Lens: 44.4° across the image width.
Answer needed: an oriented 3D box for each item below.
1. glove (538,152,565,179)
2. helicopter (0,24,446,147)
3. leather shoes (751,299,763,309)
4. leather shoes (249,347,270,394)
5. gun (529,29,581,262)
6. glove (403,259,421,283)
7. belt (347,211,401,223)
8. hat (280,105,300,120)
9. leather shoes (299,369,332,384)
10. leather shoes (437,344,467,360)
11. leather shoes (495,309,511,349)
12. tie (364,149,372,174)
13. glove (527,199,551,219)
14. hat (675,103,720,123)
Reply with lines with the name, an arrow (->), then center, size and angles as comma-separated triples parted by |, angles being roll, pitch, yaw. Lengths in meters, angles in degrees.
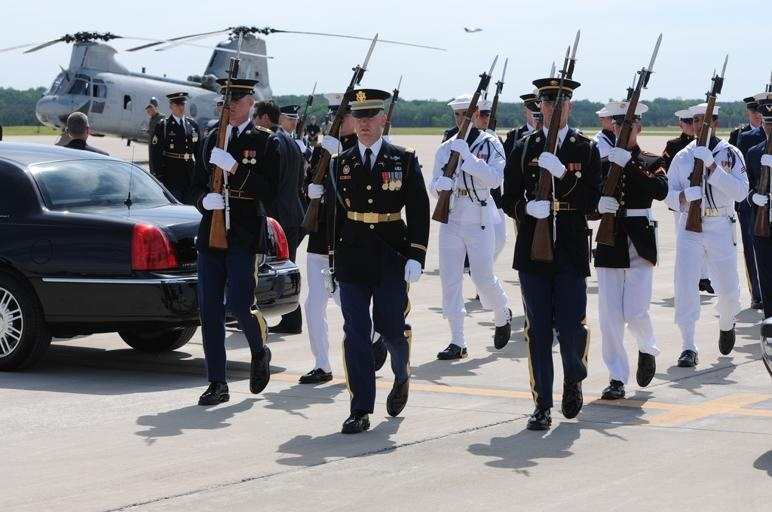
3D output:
glove -> 1.285, -0.700, 7.333 | 0.221, 0.208, 0.157 | -1, 10, -4
helicopter -> -7.038, -5.893, 35.705 | 12.471, 2.967, 11.052 | 3, -1, -29
leather shoes -> 4.518, 0.588, 11.582 | 0.126, 0.096, 0.072 | 3, -3, 11
leather shoes -> -1.096, 0.983, 8.043 | 0.186, 0.135, 0.436 | -6, 19, 2
gun -> 1.275, -0.779, 7.280 | 0.291, 1.617, 0.656 | 1, 10, 11
glove -> 0.201, 0.119, 7.194 | 0.121, 0.199, 0.204 | 0, 9, 2
belt -> -0.098, -0.303, 7.295 | 0.411, 0.093, 0.143 | -1, 9, -4
hat -> -1.101, -1.649, 10.783 | 0.213, 0.102, 0.236 | -2, 2, -33
leather shoes -> -0.639, 1.085, 8.547 | 0.288, 0.089, 0.124 | 4, -6, -36
leather shoes -> 0.648, 0.951, 9.424 | 0.141, 0.100, 0.292 | -6, -7, 41
leather shoes -> 1.175, 0.758, 9.775 | 0.146, 0.355, 0.171 | 11, 0, 40
tie -> -0.143, -0.734, 7.268 | 0.065, 0.179, 0.132 | -1, 10, -1
glove -> 1.169, -0.359, 7.324 | 0.186, 0.146, 0.141 | 1, 9, 7
hat -> 3.152, -1.426, 9.540 | 0.449, 0.113, 0.451 | -1, 4, 5
